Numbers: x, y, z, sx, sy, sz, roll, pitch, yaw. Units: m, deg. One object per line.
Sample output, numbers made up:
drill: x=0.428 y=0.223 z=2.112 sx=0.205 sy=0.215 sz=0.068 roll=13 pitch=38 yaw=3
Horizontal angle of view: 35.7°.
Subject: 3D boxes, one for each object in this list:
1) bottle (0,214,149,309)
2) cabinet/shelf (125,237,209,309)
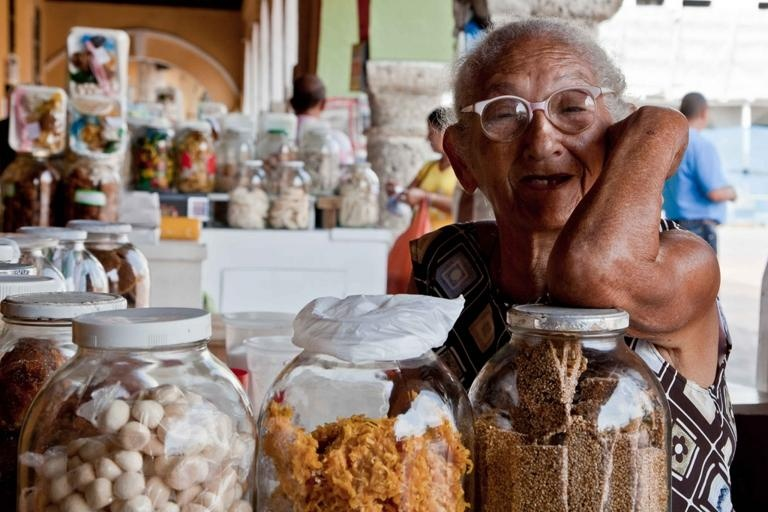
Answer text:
bottle: x=-1.220 y=0.080 z=4.976 sx=0.405 sy=0.446 sz=0.429 roll=5 pitch=-2 yaw=-21
cabinet/shelf: x=-1.148 y=0.098 z=6.455 sx=0.436 sy=0.485 sz=0.343 roll=0 pitch=2 yaw=-6
